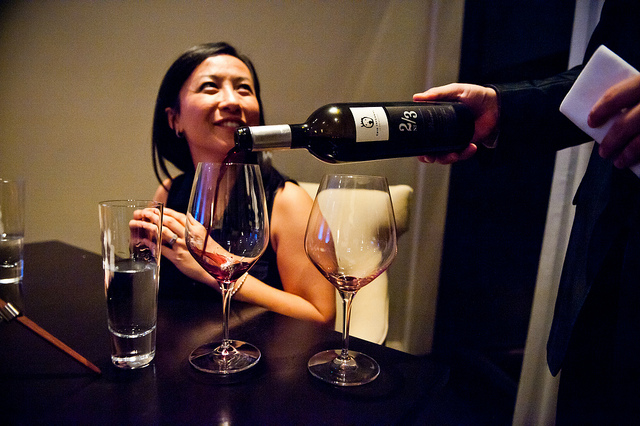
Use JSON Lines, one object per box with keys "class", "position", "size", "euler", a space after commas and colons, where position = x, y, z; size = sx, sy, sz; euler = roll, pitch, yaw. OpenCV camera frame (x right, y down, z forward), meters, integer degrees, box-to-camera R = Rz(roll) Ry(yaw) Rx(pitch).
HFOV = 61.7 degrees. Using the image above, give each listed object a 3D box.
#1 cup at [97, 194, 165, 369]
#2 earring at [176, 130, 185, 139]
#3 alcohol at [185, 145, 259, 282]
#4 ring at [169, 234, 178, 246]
{"class": "cup", "position": [-0.440, 0.153, 1.278], "size": [0.137, 0.372, 0.210], "euler": [-4, 14, -21]}
{"class": "earring", "position": [-0.583, -0.327, 2.241], "size": [0.033, 0.042, 0.073], "euler": [-3, 13, -14]}
{"class": "alcohol", "position": [-0.216, 0.016, 1.306], "size": [0.174, 0.324, 0.191], "euler": [22, 29, 19]}
{"class": "ring", "position": [-0.475, 0.085, 1.741], "size": [0.008, 0.033, 0.033], "euler": [34, 54, -2]}
